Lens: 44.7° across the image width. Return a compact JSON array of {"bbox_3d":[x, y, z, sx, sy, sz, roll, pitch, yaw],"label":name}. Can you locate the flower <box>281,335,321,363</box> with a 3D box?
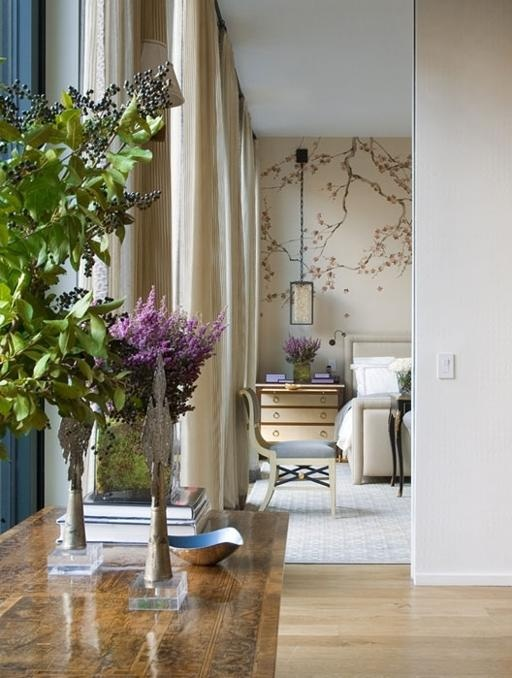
[{"bbox_3d":[0.466,0.112,6.237,0.369,0.273,0.384,0,-1,2],"label":"flower"}]

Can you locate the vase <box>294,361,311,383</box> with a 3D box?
[{"bbox_3d":[0.455,0.339,6.049,0.184,0.258,0.180,0,-2,7],"label":"vase"}]

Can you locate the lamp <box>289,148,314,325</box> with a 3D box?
[{"bbox_3d":[0.466,-1.030,6.364,0.254,1.802,0.122,0,-1,1],"label":"lamp"}]

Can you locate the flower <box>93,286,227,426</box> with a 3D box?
[{"bbox_3d":[-0.144,0.029,1.002,0.216,0.254,0.220,-3,-3,16],"label":"flower"}]
